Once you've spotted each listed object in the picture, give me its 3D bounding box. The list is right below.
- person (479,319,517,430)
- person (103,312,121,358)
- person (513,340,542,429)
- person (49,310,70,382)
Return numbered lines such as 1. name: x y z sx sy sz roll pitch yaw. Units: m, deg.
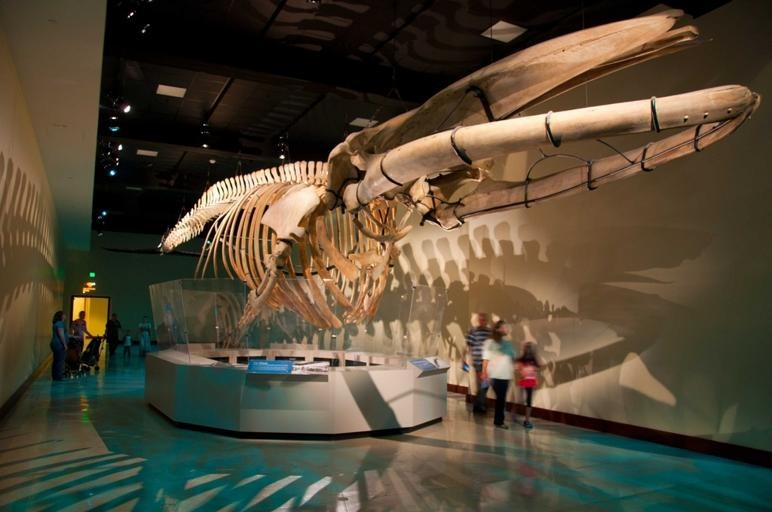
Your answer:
1. person: 1.834 1.957 8.125 0.527 1.714 0.393 1 -1 -3
2. person: -9.047 2.619 16.441 0.374 1.459 1.373 1 -1 -30
3. person: 2.400 2.173 8.520 0.457 1.437 1.087 1 -1 17
4. person: -7.306 2.015 11.086 0.291 1.600 1.229 1 -1 -33
